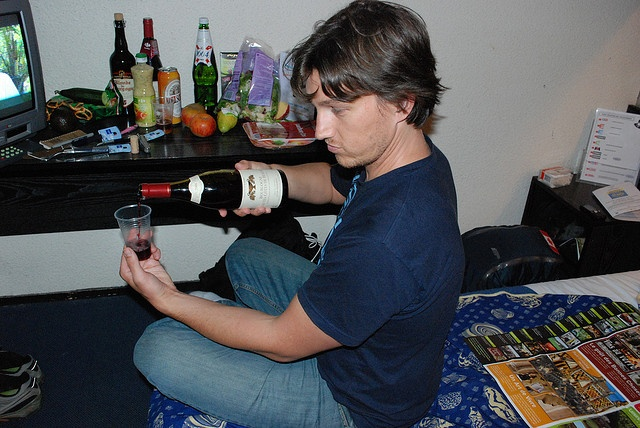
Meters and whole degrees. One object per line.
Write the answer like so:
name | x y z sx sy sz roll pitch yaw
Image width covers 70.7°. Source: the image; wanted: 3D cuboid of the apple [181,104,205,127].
apple | -0.587 -0.459 2.085 0.105 0.101 0.103 6 17 2

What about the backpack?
backpack | 0.917 0.210 2.181 0.470 0.139 0.321 -10 42 -2

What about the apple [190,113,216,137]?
apple | -0.527 -0.391 2.047 0.107 0.095 0.103 14 22 -28

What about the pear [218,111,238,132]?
pear | -0.428 -0.416 2.030 0.075 0.100 0.075 29 -4 -6
